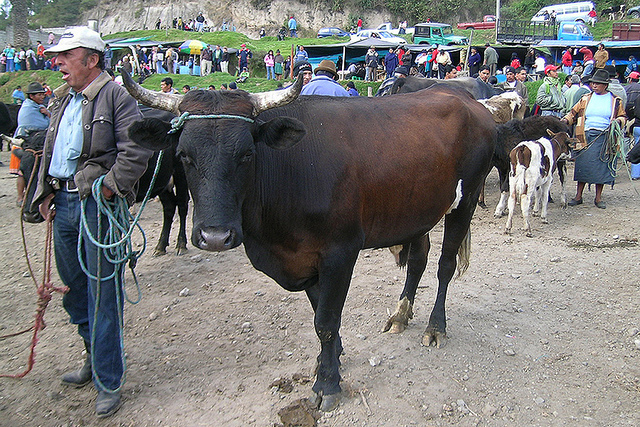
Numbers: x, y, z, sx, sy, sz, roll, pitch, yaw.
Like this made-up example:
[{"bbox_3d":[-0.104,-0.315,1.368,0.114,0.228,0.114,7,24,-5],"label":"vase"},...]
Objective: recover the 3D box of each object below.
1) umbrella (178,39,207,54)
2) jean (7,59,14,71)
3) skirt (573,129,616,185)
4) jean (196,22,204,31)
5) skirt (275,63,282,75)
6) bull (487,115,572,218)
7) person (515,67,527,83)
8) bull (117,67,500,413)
[{"bbox_3d":[-8.908,-11.666,32.902,1.534,0.659,1.727,7,23,19],"label":"umbrella"},{"bbox_3d":[-23.942,-11.561,36.505,0.446,0.751,0.507,-9,17,-34],"label":"jean"},{"bbox_3d":[6.019,-1.234,10.306,0.714,1.138,0.302,4,14,12],"label":"skirt"},{"bbox_3d":[-14.513,-22.698,57.191,0.723,1.085,2.970,-3,16,-14],"label":"jean"},{"bbox_3d":[-2.587,-8.956,29.083,0.538,0.784,0.460,-8,16,-30],"label":"skirt"},{"bbox_3d":[3.883,-0.828,8.705,0.670,2.327,0.730,-3,8,-26],"label":"bull"},{"bbox_3d":[5.297,-3.670,12.467,0.277,0.389,0.749,6,16,20],"label":"person"},{"bbox_3d":[0.452,0.096,5.313,4.396,3.405,1.406,-10,13,-38],"label":"bull"}]
